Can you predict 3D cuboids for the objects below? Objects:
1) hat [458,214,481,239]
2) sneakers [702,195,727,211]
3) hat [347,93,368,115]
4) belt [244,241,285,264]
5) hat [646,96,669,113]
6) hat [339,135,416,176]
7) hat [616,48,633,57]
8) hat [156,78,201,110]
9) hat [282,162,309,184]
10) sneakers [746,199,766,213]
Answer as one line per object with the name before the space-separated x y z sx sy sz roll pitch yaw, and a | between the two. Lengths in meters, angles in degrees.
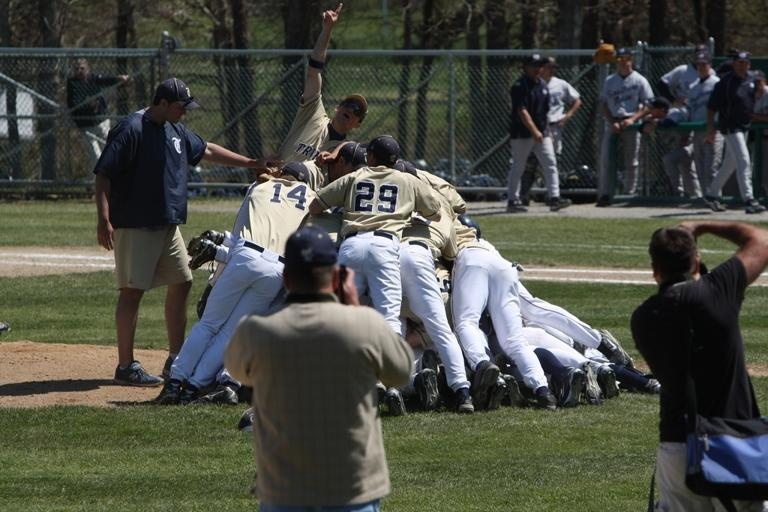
hat | 1.280 -0.443 26.202 0.323 0.315 0.479 1 3 3
sneakers | 6.214 -0.971 32.672 0.222 0.191 0.516 -30 21 -12
hat | -0.443 -2.296 26.667 0.380 0.335 0.316 0 3 -9
belt | -1.678 -0.150 24.961 0.593 0.142 0.332 28 21 -7
hat | 5.241 -2.828 32.931 0.234 0.293 0.268 9 -25 -10
hat | -0.061 -1.507 25.601 0.978 0.526 0.585 38 32 25
hat | 4.585 -3.856 32.888 0.276 0.189 0.271 4 -8 -12
hat | -3.019 -2.370 25.463 0.744 0.425 0.504 11 10 21
hat | -1.292 -1.218 25.652 0.424 0.305 0.264 0 3 -8
sneakers | 6.878 -0.917 32.150 0.390 0.217 0.210 -1 8 1
